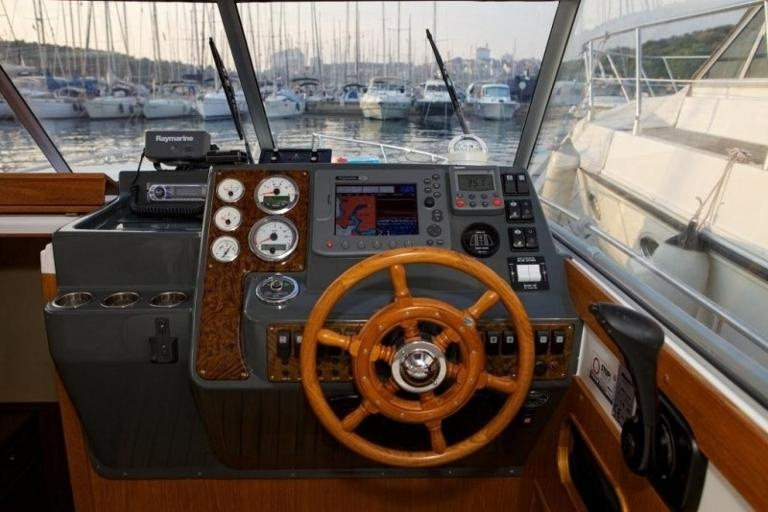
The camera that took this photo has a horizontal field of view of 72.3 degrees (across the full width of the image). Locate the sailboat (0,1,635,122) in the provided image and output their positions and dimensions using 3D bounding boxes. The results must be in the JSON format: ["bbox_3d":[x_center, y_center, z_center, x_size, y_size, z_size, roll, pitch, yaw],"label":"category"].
[{"bbox_3d":[-0.345,-1.269,3.361,3.241,0.052,0.996,2,-18,6],"label":"sailboat"}]
